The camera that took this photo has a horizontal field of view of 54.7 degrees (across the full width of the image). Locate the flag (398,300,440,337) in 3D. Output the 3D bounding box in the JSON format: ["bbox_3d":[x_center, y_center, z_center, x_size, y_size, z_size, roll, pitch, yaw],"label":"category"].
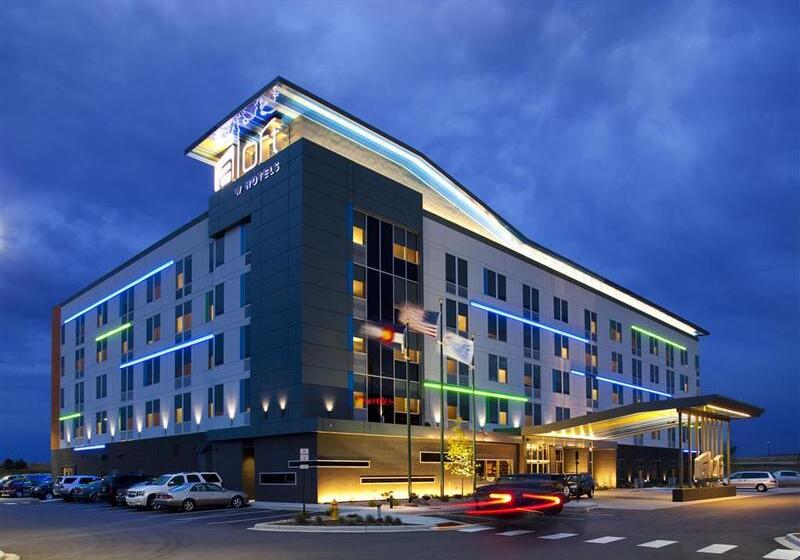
[{"bbox_3d":[1.114,2.724,53.109,2.582,1.916,0.278,13,-30,-29],"label":"flag"}]

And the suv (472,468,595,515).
[{"bbox_3d":[6.625,11.455,41.472,3.407,2.228,5.074,-20,-27,39],"label":"suv"}]

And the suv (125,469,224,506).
[{"bbox_3d":[-13.282,13.086,47.272,5.655,2.011,2.710,9,-15,-33],"label":"suv"}]
